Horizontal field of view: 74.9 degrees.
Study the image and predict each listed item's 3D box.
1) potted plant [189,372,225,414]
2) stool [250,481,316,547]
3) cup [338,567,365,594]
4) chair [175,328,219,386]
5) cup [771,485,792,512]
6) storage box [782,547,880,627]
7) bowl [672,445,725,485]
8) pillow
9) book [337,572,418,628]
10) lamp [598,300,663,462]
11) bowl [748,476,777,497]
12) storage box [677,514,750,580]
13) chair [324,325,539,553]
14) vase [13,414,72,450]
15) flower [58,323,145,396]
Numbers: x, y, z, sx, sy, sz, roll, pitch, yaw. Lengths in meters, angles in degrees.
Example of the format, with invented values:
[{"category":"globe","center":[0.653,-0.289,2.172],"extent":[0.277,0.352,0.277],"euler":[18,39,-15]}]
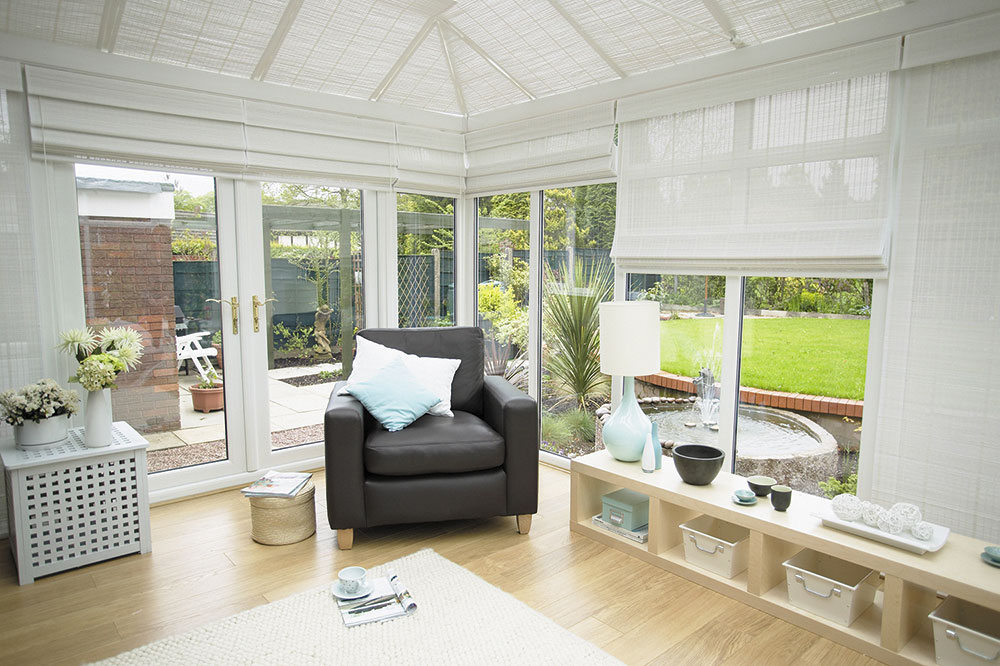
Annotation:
[{"category":"potted plant","center":[-2.004,0.427,4.477],"extent":[0.261,0.252,0.243],"euler":[2,2,38]},{"category":"stool","center":[-1.332,1.129,4.073],"extent":[0.428,0.247,0.433],"euler":[-6,-6,41]},{"category":"cup","center":[-0.773,1.291,3.400],"extent":[0.147,0.087,0.116],"euler":[-1,5,-38]},{"category":"chair","center":[-2.065,0.168,4.426],"extent":[0.332,0.364,0.310],"euler":[1,6,-2]},{"category":"cup","center":[1.494,0.877,3.464],"extent":[0.124,0.121,0.120],"euler":[-1,3,0]},{"category":"storage box","center":[1.683,1.282,3.318],"extent":[0.359,0.224,0.409],"euler":[-7,8,-44]},{"category":"bowl","center":[1.111,0.772,3.735],"extent":[0.304,0.161,0.300],"euler":[2,7,0]},{"category":"pillow","center":[-0.675,0.297,4.204],"extent":[0.627,0.530,0.181],"euler":[12,29,22]},{"category":"book","center":[-0.639,1.370,3.340],"extent":[0.245,0.042,0.233],"euler":[-1,8,-23]},{"category":"lamp","center":[0.762,0.304,3.871],"extent":[0.322,0.970,0.214],"euler":[-1,6,7]},{"category":"bowl","center":[1.438,0.833,3.563],"extent":[0.119,0.058,0.113],"euler":[0,9,0]},{"category":"storage box","center":[1.186,1.190,3.667],"extent":[0.269,0.199,0.344],"euler":[-4,5,-43]},{"category":"chair","center":[-0.473,0.555,4.318],"extent":[1.456,1.037,1.264],"euler":[0,14,2]},{"category":"vase","center":[-2.597,0.555,3.672],"extent":[0.209,0.114,0.193],"euler":[0,-1,-2]},{"category":"flower","center":[-2.408,0.174,3.869],"extent":[0.481,0.436,0.366],"euler":[5,30,-40]}]
